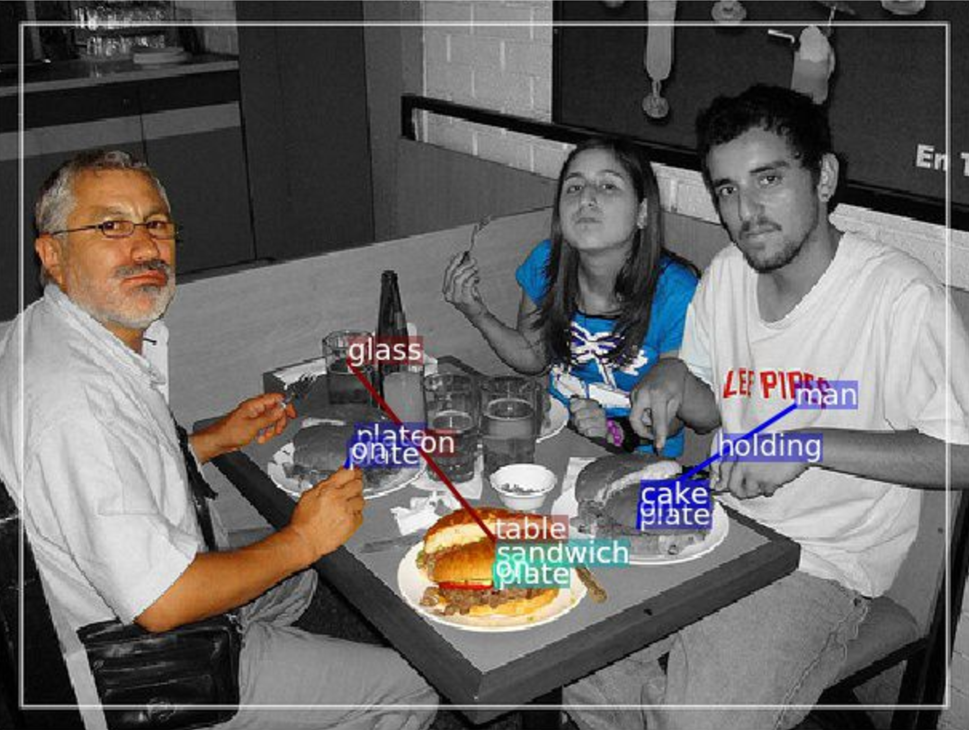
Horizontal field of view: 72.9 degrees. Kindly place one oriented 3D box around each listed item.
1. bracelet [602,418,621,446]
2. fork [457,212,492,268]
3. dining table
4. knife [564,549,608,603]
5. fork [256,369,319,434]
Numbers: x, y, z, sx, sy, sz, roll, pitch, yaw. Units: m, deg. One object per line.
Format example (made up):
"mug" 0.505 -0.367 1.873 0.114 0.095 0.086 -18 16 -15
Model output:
"bracelet" 0.341 0.185 1.768 0.053 0.070 0.025 -7 -25 -48
"fork" -0.021 -0.461 2.380 0.049 0.239 0.091 19 1 28
"dining table" 0.013 0.413 1.475 0.799 0.400 1.012 -16 21 -35
"knife" 0.180 0.382 1.181 0.025 0.010 0.180 -11 15 -11
"fork" -0.517 0.096 1.765 0.047 0.037 0.241 26 27 -1
